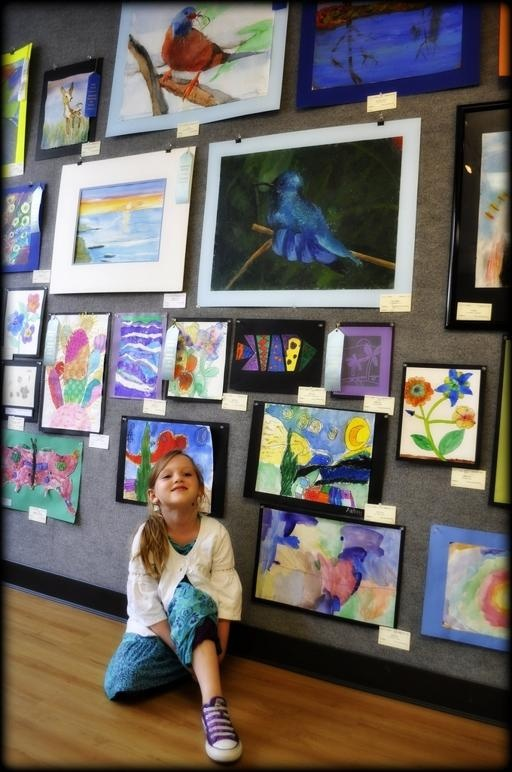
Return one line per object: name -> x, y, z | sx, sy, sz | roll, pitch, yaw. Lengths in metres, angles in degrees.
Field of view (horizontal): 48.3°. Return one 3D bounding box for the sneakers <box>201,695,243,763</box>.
sneakers -> -0.064, 0.741, 1.237 | 0.047, 0.055, 0.134 | -1, 8, -11
